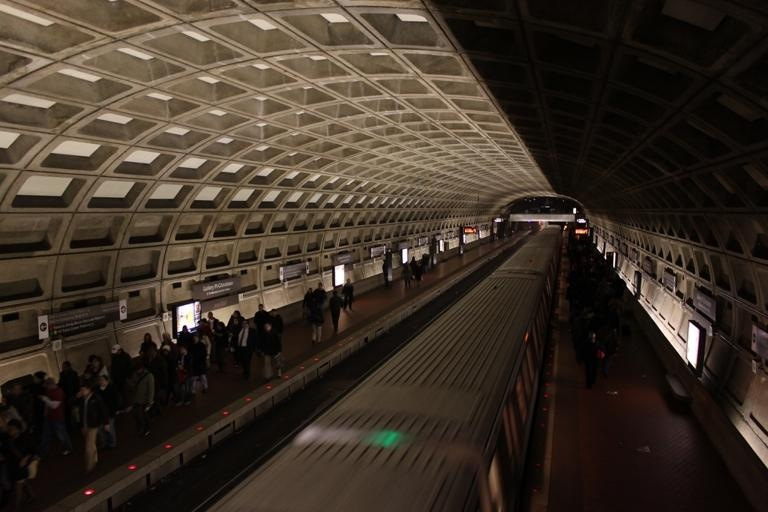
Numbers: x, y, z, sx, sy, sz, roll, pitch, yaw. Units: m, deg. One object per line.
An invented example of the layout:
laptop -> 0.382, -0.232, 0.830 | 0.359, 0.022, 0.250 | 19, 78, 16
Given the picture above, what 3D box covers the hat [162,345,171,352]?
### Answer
hat -> -7.046, 2.981, 13.676 | 0.205, 0.134, 0.191 | -6, 7, -10
